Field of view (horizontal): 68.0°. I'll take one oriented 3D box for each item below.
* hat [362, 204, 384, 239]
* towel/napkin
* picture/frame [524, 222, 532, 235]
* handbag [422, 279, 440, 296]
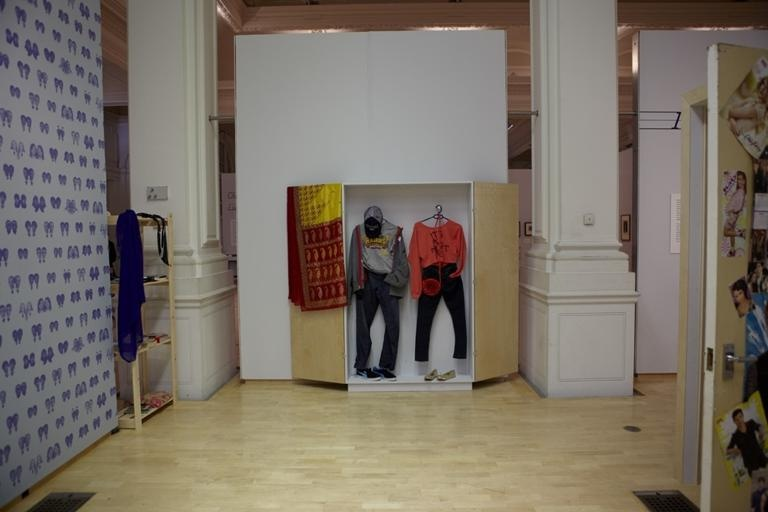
[{"bbox_3d":[-0.095,-0.368,6.302,0.214,0.340,0.280,2,4,1],"label":"hat"},{"bbox_3d":[-2.435,0.289,5.528,0.244,1.401,0.291,12,14,34],"label":"towel/napkin"},{"bbox_3d":[2.408,-0.457,9.663,0.089,0.245,0.158,-1,3,14],"label":"picture/frame"},{"bbox_3d":[0.518,0.349,6.279,0.200,0.197,0.061,-2,3,0],"label":"handbag"}]
